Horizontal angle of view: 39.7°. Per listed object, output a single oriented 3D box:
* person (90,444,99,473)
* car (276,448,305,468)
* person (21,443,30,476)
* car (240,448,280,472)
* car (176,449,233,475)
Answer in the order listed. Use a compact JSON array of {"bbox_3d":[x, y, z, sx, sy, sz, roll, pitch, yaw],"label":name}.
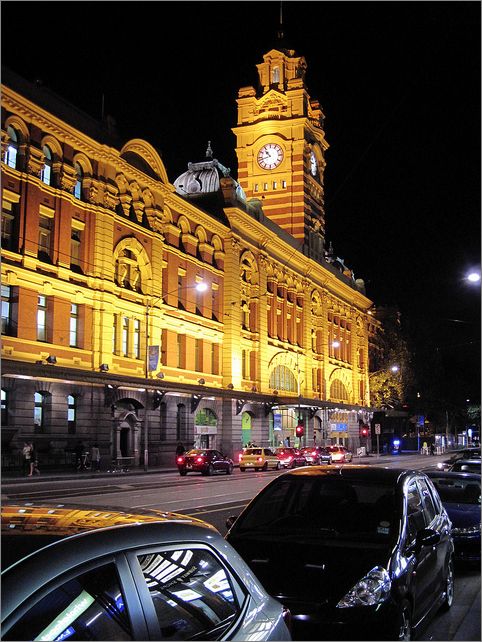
[{"bbox_3d":[-7.438,7.075,34.061,0.407,1.167,1.029,2,-12,-18],"label":"person"},{"bbox_3d":[3.425,9.391,45.504,0.984,1.051,2.203,-4,-29,15],"label":"car"},{"bbox_3d":[-9.759,6.292,30.312,0.360,1.442,1.471,2,-12,-18],"label":"person"},{"bbox_3d":[1.376,8.825,42.281,1.235,1.120,2.303,-4,-7,25],"label":"car"},{"bbox_3d":[-1.887,7.723,36.252,0.938,1.397,3.691,-10,-14,36],"label":"car"}]
